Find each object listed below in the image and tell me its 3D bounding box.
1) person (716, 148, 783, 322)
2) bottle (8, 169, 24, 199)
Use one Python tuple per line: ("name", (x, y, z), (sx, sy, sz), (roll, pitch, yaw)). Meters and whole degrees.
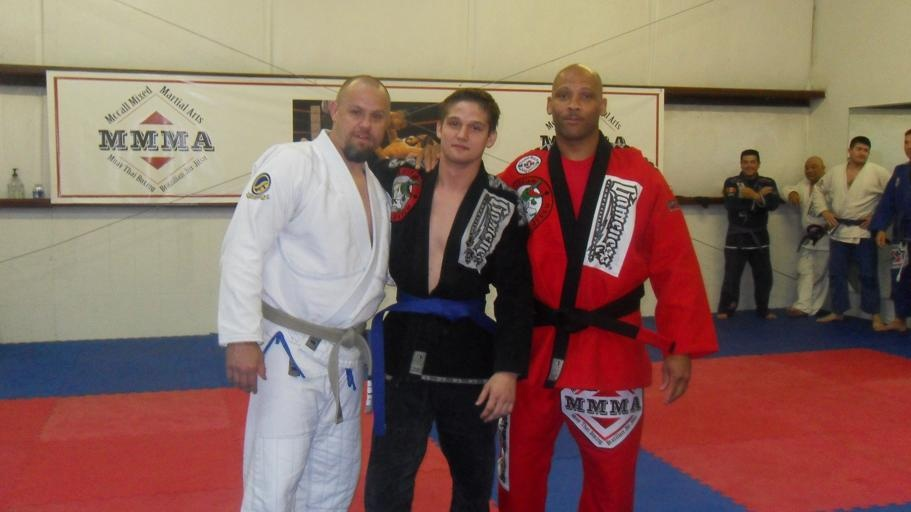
("person", (4.774, -0.343, 13.577), (0.895, 2.717, 0.487), (4, 8, 9))
("bottle", (-6.452, -1.064, 12.231), (0.251, 0.430, 0.202), (4, 8, 9))
